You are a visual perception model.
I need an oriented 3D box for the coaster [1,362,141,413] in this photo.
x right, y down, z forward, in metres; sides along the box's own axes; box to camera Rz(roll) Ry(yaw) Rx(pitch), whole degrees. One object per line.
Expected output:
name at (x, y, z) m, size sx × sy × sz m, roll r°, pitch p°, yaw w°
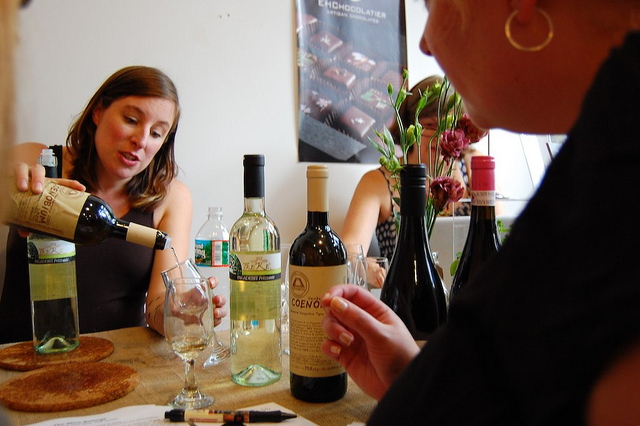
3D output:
coaster at (-0.438, 0.300, 0.869) m, size 0.225 × 0.014 × 0.189 m, roll -4°, pitch 8°, yaw -22°

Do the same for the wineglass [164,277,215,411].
wineglass at (-0.236, 0.230, 0.900) m, size 0.094 × 0.253 × 0.105 m, roll -2°, pitch 9°, yaw -15°

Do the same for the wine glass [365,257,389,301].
wine glass at (0.136, 0.150, 1.140) m, size 0.052 × 0.085 × 0.053 m, roll 0°, pitch 5°, yaw -12°

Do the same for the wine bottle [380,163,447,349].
wine bottle at (0.164, 0.058, 0.852) m, size 0.089 × 0.338 × 0.099 m, roll 0°, pitch 6°, yaw 10°

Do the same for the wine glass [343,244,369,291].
wine glass at (0.077, 0.110, 1.014) m, size 0.053 × 0.089 × 0.052 m, roll 4°, pitch 14°, yaw 33°

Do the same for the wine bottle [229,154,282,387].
wine bottle at (-0.120, 0.098, 0.911) m, size 0.089 × 0.412 × 0.104 m, roll 1°, pitch 4°, yaw 3°

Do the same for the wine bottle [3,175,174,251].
wine bottle at (-0.466, -0.002, 1.019) m, size 0.296 × 0.152 × 0.094 m, roll -2°, pitch 7°, yaw -15°
